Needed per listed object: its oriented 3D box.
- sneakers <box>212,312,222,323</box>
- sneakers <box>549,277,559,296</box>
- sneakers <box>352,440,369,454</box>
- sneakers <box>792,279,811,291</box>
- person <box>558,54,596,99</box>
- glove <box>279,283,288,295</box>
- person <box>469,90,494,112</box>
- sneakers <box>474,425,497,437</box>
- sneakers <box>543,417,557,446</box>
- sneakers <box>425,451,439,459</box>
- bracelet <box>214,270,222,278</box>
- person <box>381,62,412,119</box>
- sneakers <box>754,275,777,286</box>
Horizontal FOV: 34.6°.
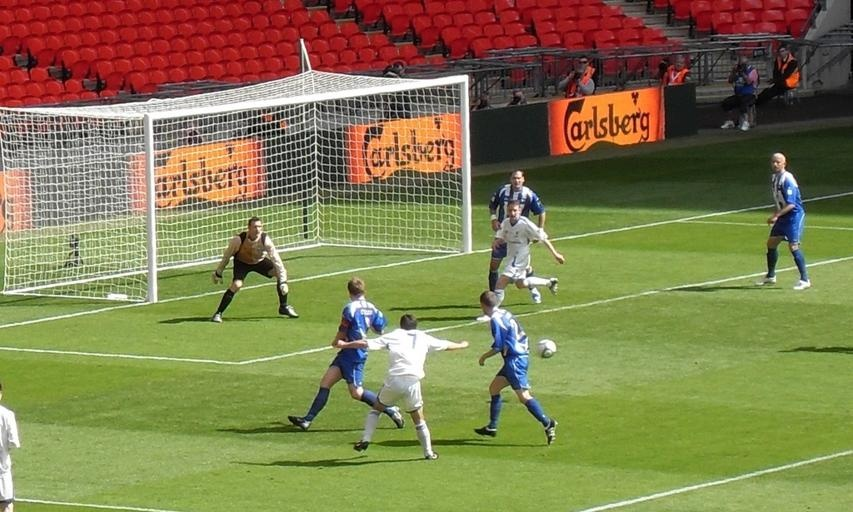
[{"bbox_3d":[-4.197,1.220,27.437,0.208,0.188,0.286,-4,6,-6],"label":"sneakers"},{"bbox_3d":[2.547,0.607,27.738,0.163,0.301,0.216,-2,11,-30],"label":"sneakers"},{"bbox_3d":[-1.075,3.042,21.908,0.142,0.135,0.351,-3,3,-26],"label":"sneakers"},{"bbox_3d":[7.645,0.584,28.206,0.415,0.156,0.164,-7,12,-12],"label":"sneakers"},{"bbox_3d":[4.946,-5.970,43.737,1.362,0.534,0.776,-22,51,-18],"label":"person"},{"bbox_3d":[-2.891,0.647,27.575,0.157,0.225,0.110,-9,9,-36],"label":"glove"},{"bbox_3d":[1.631,-4.851,42.247,0.645,0.463,0.843,-3,6,2],"label":"person"},{"bbox_3d":[0.952,2.884,22.372,0.430,0.173,0.142,4,13,15],"label":"sneakers"},{"bbox_3d":[1.963,2.845,22.124,0.232,0.393,0.161,-5,2,-11],"label":"sneakers"},{"bbox_3d":[0.073,3.175,21.848,0.201,0.112,0.099,-15,21,-32],"label":"sneakers"},{"bbox_3d":[-4.160,0.349,27.612,0.143,0.137,0.166,7,-14,-21],"label":"bracelet"},{"bbox_3d":[-0.834,-4.390,36.452,1.164,0.569,2.355,-2,31,-3],"label":"person"},{"bbox_3d":[7.006,0.509,28.558,0.431,0.157,0.181,1,7,8],"label":"sneakers"}]
